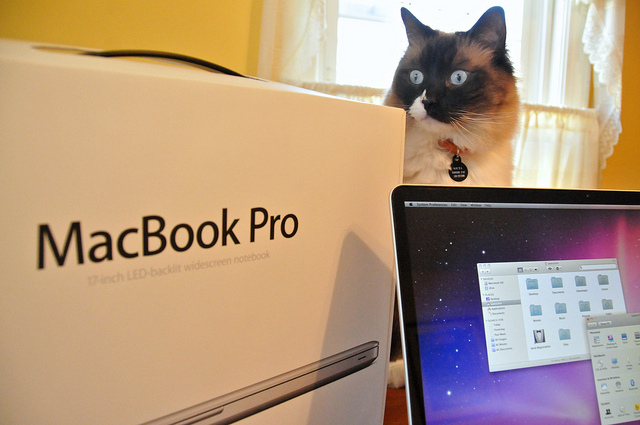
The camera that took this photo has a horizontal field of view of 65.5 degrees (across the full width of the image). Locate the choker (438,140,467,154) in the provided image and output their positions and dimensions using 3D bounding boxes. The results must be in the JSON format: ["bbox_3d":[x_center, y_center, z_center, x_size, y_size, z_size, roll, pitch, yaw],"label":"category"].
[{"bbox_3d":[0.307,-0.155,1.128,0.042,0.018,0.033,31,15,0],"label":"choker"}]

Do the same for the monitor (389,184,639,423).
[{"bbox_3d":[0.275,0.130,0.830,0.409,0.294,0.338,0,5,-10],"label":"monitor"}]
